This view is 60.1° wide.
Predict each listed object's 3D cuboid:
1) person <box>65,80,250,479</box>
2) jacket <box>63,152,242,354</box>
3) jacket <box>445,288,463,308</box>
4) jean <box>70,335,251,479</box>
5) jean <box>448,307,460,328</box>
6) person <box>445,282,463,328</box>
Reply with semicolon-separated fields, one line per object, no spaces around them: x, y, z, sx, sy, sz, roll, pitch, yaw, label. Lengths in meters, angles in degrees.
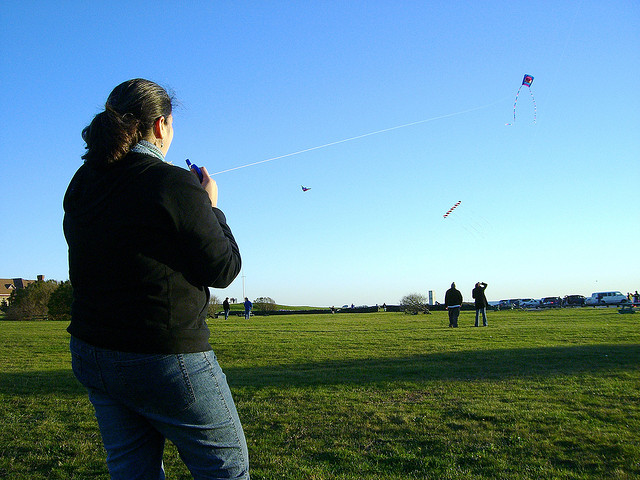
-1.174;0.259;3.894;1.223;2.795;0.620;-2;-8;15;person
-1.269;0.137;4.097;1.296;1.449;0.930;-6;-7;27;jacket
5.346;2.310;22.419;0.532;0.716;0.759;1;-8;-7;jacket
-1.106;1.179;3.818;1.143;0.991;0.509;-2;-8;16;jean
5.422;3.171;22.638;0.380;0.782;0.868;-1;-8;8;jean
5.379;2.677;22.572;0.615;1.780;1.423;-2;-8;13;person
